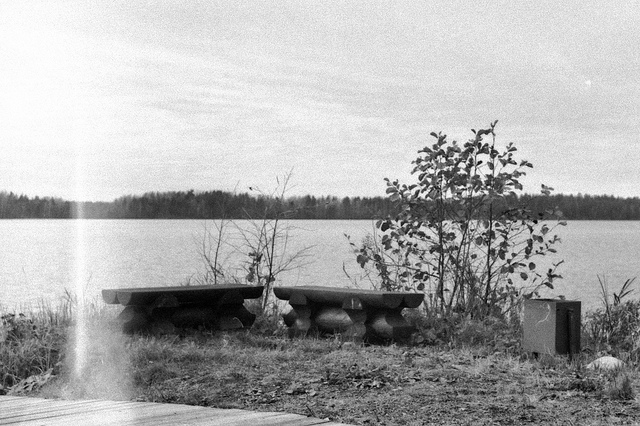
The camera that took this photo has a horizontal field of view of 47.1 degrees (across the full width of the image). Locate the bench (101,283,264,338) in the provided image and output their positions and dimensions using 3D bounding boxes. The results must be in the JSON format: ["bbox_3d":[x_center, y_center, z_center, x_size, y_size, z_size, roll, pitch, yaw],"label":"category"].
[{"bbox_3d":[-3.357,2.399,18.039,3.548,1.236,0.815,3,-6,-29],"label":"bench"}]
